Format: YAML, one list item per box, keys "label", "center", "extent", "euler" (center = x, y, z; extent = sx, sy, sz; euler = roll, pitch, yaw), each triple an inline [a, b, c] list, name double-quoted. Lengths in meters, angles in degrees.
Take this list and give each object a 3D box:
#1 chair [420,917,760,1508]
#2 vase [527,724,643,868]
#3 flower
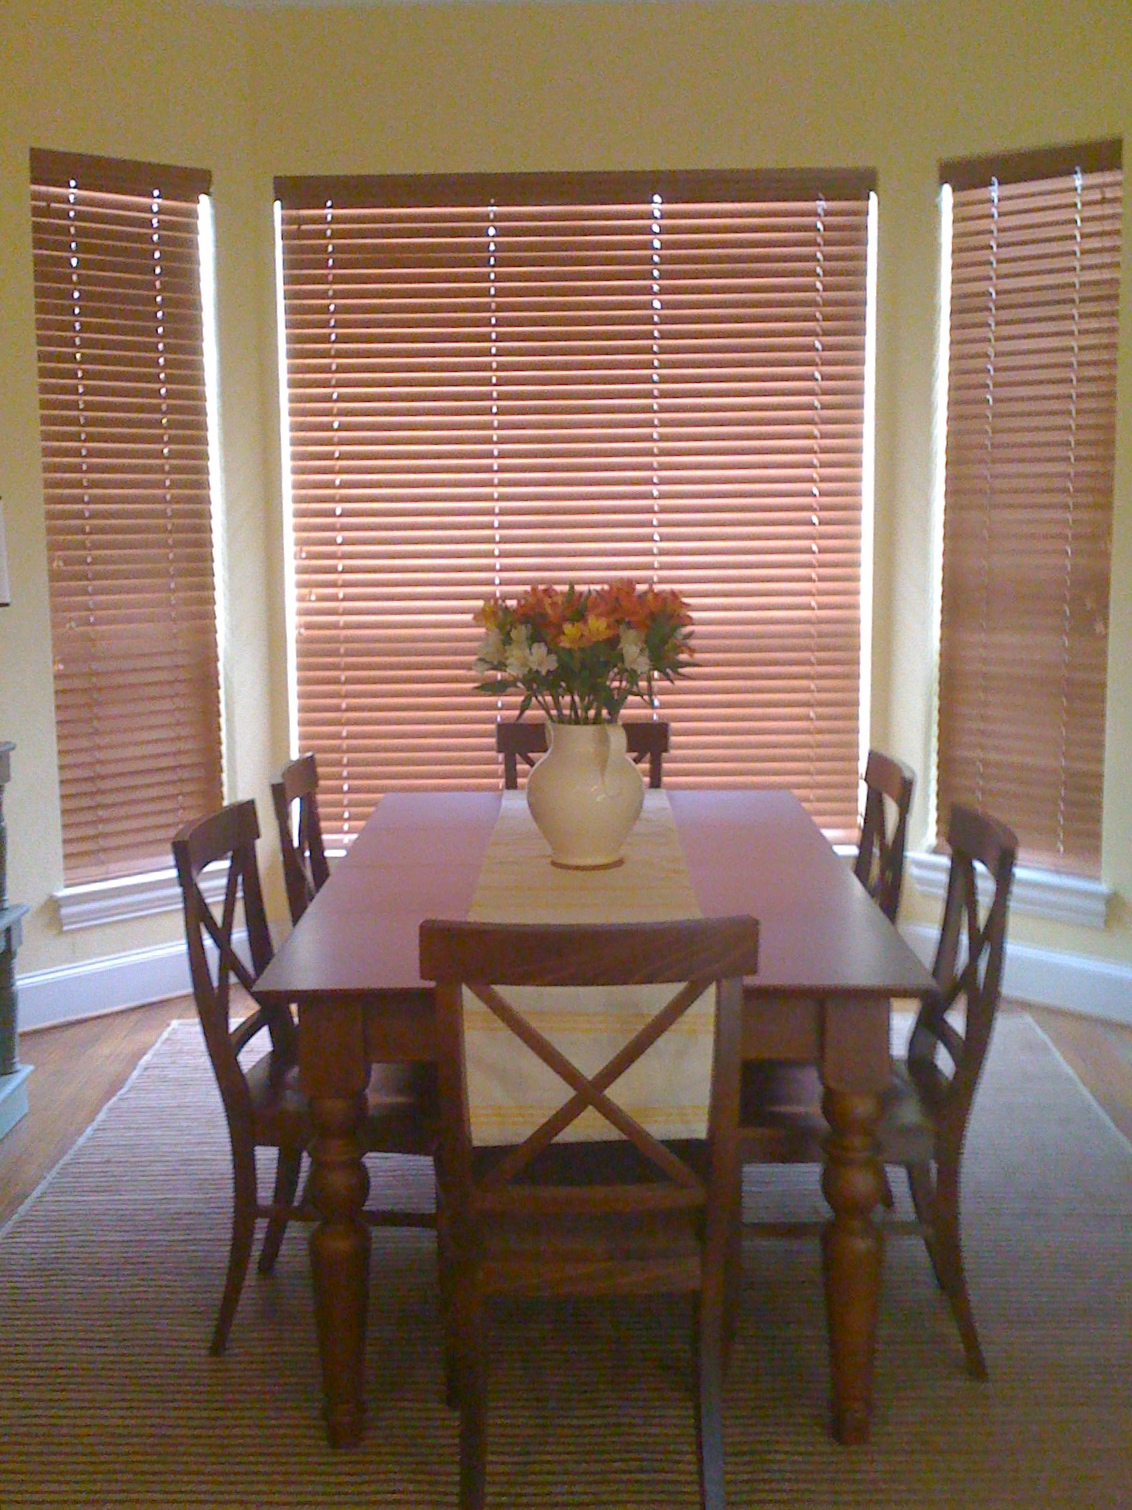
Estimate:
- label: "chair"
  center: [0.035, 0.530, 1.549]
  extent: [0.369, 0.815, 0.384]
  euler: [-3, 8, -6]
- label: "vase"
  center: [0.031, 0.056, 2.135]
  extent: [0.180, 0.274, 0.194]
  euler: [-4, 15, -25]
- label: "flower"
  center: [0.013, -0.150, 2.062]
  extent: [0.284, 0.227, 0.309]
  euler: [6, 12, 44]
